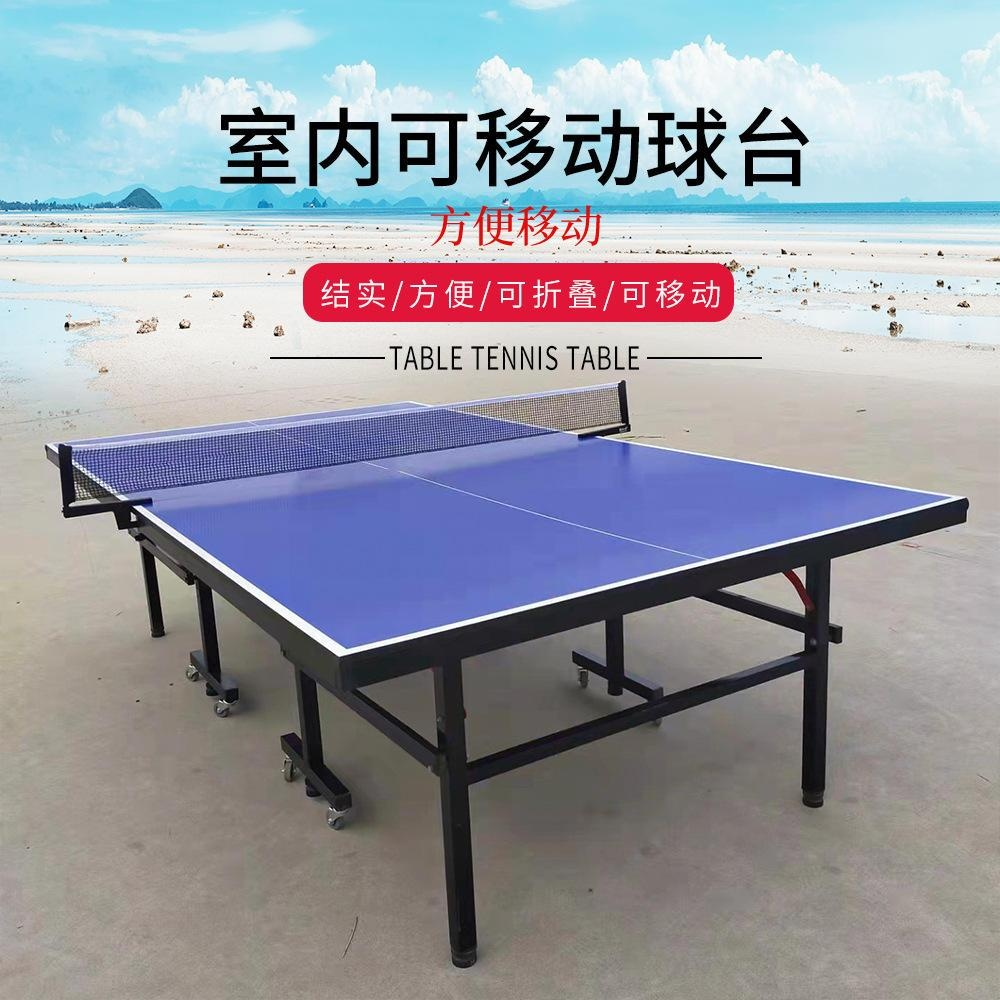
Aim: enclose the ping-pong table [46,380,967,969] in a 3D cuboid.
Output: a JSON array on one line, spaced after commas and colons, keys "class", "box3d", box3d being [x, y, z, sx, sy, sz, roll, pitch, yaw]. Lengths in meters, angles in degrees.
[{"class": "ping-pong table", "box3d": [-0.131, 0.203, 3.322, 2.548, 1.070, 3.084, -12, 18, -37]}]
